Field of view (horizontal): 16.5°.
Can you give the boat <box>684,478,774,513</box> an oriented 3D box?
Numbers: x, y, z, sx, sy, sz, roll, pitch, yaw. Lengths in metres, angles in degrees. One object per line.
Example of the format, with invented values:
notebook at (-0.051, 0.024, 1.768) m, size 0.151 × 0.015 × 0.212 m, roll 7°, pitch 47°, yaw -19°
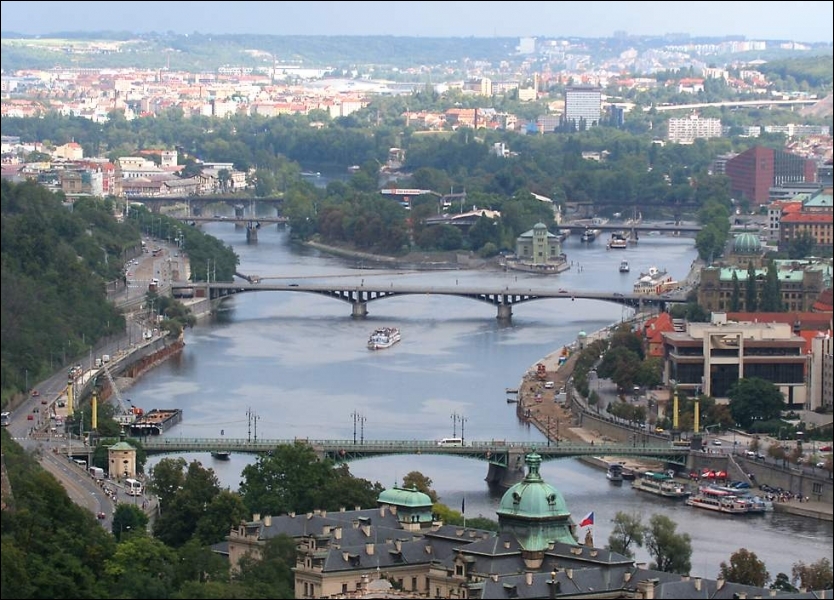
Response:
boat at (13.168, 8.116, 120.672) m, size 3.363 × 0.699 × 3.323 m, roll 0°, pitch 15°, yaw 3°
